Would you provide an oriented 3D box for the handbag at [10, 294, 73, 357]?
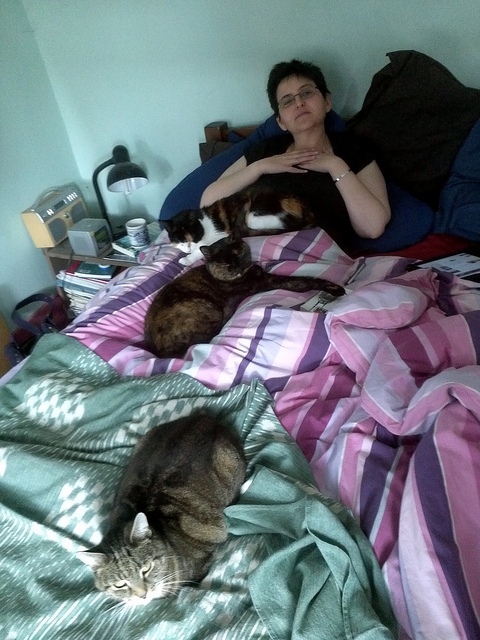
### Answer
[{"bbox_3d":[-0.777,0.019,1.907,0.158,0.195,0.146,10,36,12],"label":"handbag"}]

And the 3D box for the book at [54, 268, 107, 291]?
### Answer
[{"bbox_3d":[-0.666,-0.162,2.084,0.122,0.028,0.119,13,22,-5],"label":"book"}]

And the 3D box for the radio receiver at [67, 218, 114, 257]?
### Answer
[{"bbox_3d":[-0.638,-0.349,2.115,0.175,0.108,0.128,7,40,25],"label":"radio receiver"}]

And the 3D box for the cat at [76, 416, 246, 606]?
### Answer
[{"bbox_3d":[-0.108,0.310,0.872,0.188,0.179,0.320,-1,32,12],"label":"cat"}]

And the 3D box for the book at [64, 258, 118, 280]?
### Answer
[{"bbox_3d":[-0.628,-0.216,2.111,0.139,0.031,0.134,-1,24,-14],"label":"book"}]

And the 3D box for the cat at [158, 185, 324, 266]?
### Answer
[{"bbox_3d":[0.006,-0.306,1.508,0.423,0.147,0.242,-24,28,8],"label":"cat"}]

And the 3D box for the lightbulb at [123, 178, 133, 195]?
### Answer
[{"bbox_3d":[-0.450,-0.543,1.994,0.034,0.066,0.059,-14,32,-8],"label":"lightbulb"}]

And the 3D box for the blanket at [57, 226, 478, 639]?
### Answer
[{"bbox_3d":[0.006,0.120,1.084,0.926,0.213,0.655,10,67,25],"label":"blanket"}]

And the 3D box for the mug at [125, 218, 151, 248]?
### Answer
[{"bbox_3d":[-0.417,-0.377,2.068,0.107,0.120,0.111,-9,49,-6],"label":"mug"}]

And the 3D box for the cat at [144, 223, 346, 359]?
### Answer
[{"bbox_3d":[0.019,-0.014,1.351,0.473,0.151,0.301,-23,38,13],"label":"cat"}]
